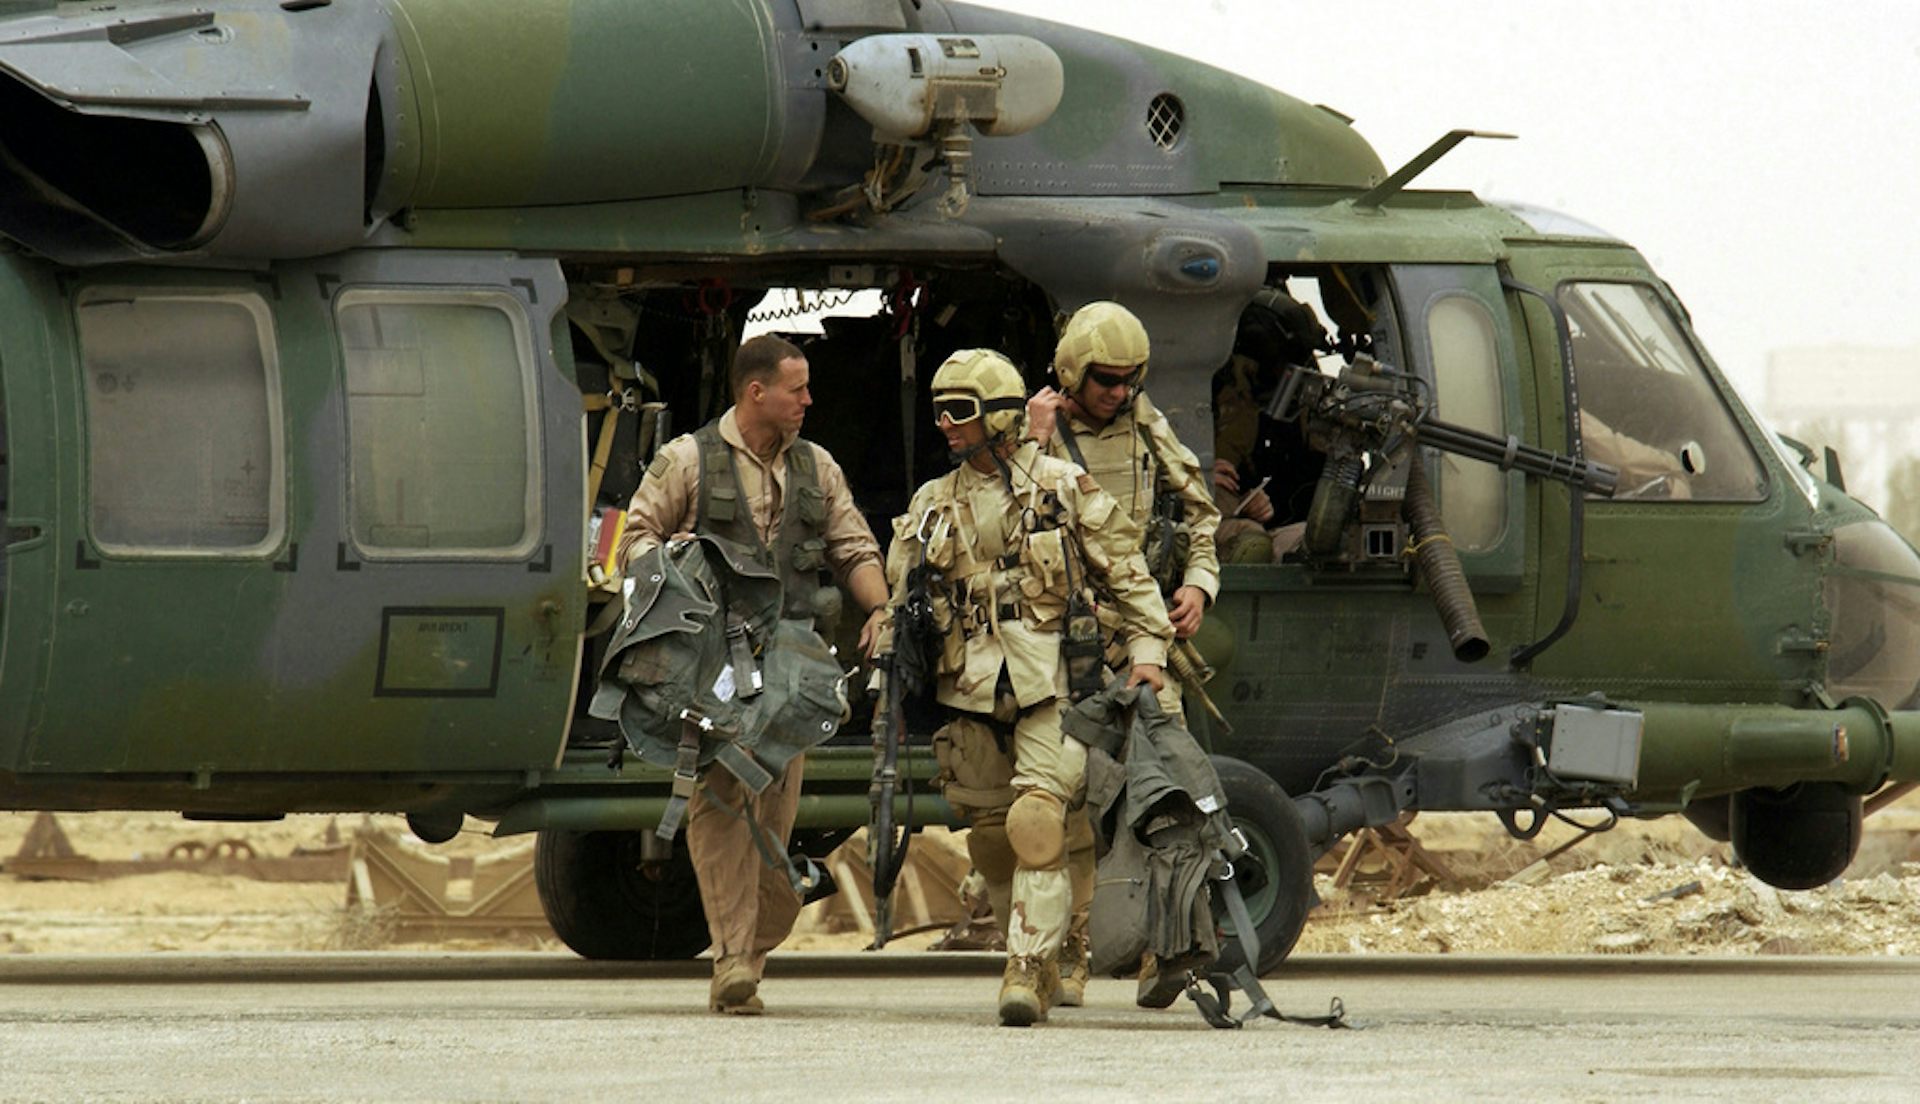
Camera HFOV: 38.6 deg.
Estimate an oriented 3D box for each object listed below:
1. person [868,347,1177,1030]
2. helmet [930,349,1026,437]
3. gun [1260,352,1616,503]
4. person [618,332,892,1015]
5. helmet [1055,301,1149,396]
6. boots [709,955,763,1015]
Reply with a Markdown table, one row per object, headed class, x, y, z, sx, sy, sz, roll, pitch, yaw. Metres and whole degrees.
| class | x | y | z | sx | sy | sz | roll | pitch | yaw |
| --- | --- | --- | --- | --- | --- | --- | --- | --- | --- |
| person | 0.292 | 0.619 | 13.028 | 1.349 | 3.158 | 0.469 | 0 | -2 | -2 |
| helmet | 0.077 | -0.768 | 13.143 | 0.455 | 0.349 | 0.343 | 4 | -9 | -27 |
| gun | 2.677 | -0.692 | 14.863 | 1.754 | 0.536 | 0.408 | 18 | -6 | -7 |
| person | -0.996 | 0.579 | 13.196 | 1.279 | 3.225 | 0.575 | 0 | -2 | -13 |
| helmet | 0.600 | -1.047 | 13.625 | 0.375 | 0.387 | 0.476 | 1 | 8 | -31 |
| boots | -1.075 | 2.049 | 13.093 | 0.241 | 0.282 | 0.199 | 0 | -2 | -7 |
